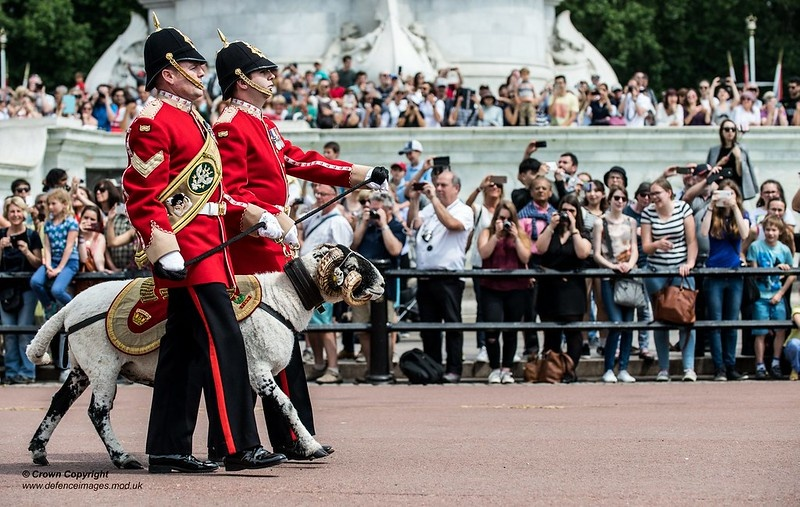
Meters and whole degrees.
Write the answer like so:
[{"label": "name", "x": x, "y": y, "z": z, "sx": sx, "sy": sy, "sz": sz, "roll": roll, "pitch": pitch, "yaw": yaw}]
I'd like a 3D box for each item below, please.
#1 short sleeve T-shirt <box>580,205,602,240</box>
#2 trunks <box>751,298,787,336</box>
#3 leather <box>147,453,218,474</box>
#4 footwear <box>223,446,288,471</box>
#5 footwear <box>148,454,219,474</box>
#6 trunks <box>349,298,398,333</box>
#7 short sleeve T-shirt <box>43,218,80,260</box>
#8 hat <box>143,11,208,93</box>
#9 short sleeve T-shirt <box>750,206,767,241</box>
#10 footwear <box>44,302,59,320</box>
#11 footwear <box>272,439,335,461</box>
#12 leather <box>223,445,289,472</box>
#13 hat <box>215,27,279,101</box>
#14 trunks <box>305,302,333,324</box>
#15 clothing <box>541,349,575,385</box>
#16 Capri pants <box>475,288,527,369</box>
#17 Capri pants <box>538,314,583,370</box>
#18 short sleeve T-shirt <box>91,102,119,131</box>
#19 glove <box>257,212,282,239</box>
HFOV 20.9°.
[{"label": "short sleeve T-shirt", "x": 3.214, "y": -0.483, "z": 36.691, "sx": 0.618, "sy": 0.484, "sz": 0.288, "roll": 5, "pitch": -45, "yaw": -6}, {"label": "trunks", "x": 6.152, "y": 1.097, "z": 36.349, "sx": 0.567, "sy": 0.608, "sz": 0.275, "roll": 14, "pitch": -18, "yaw": 1}, {"label": "leather", "x": -3.148, "y": 3.038, "z": 31.311, "sx": 1.034, "sy": 0.269, "sz": 0.323, "roll": 0, "pitch": -5, "yaw": -7}, {"label": "footwear", "x": -2.118, "y": 2.961, "z": 31.216, "sx": 1.002, "sy": 0.329, "sz": 0.322, "roll": -4, "pitch": -3, "yaw": 1}, {"label": "footwear", "x": -3.137, "y": 3.040, "z": 31.317, "sx": 1.056, "sy": 0.270, "sz": 0.318, "roll": 0, "pitch": -5, "yaw": -8}, {"label": "trunks", "x": -0.447, "y": 1.028, "z": 36.810, "sx": 0.544, "sy": 0.426, "sz": 0.499, "roll": 4, "pitch": -8, "yaw": -36}, {"label": "short sleeve T-shirt", "x": -5.729, "y": -0.217, "z": 36.759, "sx": 0.755, "sy": 0.777, "sz": 0.333, "roll": -4, "pitch": -12, "yaw": 4}, {"label": "hat", "x": -3.087, "y": -2.850, "z": 31.326, "sx": 1.172, "sy": 0.970, "sz": 0.852, "roll": -11, "pitch": 14, "yaw": -14}, {"label": "short sleeve T-shirt", "x": 6.172, "y": -0.504, "z": 37.608, "sx": 0.223, "sy": 0.478, "sz": 0.393, "roll": 19, "pitch": -8, "yaw": -18}, {"label": "footwear", "x": -5.716, "y": 0.941, "z": 35.623, "sx": 0.112, "sy": 0.283, "sz": 0.214, "roll": 14, "pitch": -19, "yaw": 29}, {"label": "footwear", "x": -1.366, "y": 2.868, "z": 31.562, "sx": 0.916, "sy": 0.332, "sz": 0.300, "roll": -4, "pitch": -2, "yaw": 6}, {"label": "leather", "x": -2.084, "y": 2.961, "z": 31.197, "sx": 1.003, "sy": 0.333, "sz": 0.323, "roll": -4, "pitch": -3, "yaw": 1}, {"label": "hat", "x": -2.434, "y": -2.728, "z": 31.731, "sx": 0.708, "sy": 0.993, "sz": 1.452, "roll": 10, "pitch": -4, "yaw": -35}, {"label": "trunks", "x": -1.331, "y": 1.008, "z": 36.908, "sx": 0.542, "sy": 0.452, "sz": 0.476, "roll": 0, "pitch": 14, "yaw": 1}, {"label": "clothing", "x": 2.589, "y": 1.894, "z": 35.884, "sx": 0.618, "sy": 0.491, "sz": 0.552, "roll": 5, "pitch": -14, "yaw": -28}, {"label": "Capri pants", "x": 1.664, "y": 1.267, "z": 36.108, "sx": 0.808, "sy": 1.294, "sz": 0.637, "roll": 0, "pitch": 0, "yaw": 14}, {"label": "Capri pants", "x": 2.714, "y": 1.446, "z": 36.231, "sx": 0.761, "sy": 0.811, "sz": 0.433, "roll": -4, "pitch": -1, "yaw": -21}, {"label": "short sleeve T-shirt", "x": -6.112, "y": -2.796, "z": 45.055, "sx": 0.724, "sy": 0.719, "sz": 0.422, "roll": -1, "pitch": -24, "yaw": -3}, {"label": "glove", "x": -1.878, "y": -0.373, "z": 31.202, "sx": 0.210, "sy": 0.314, "sz": 0.401, "roll": -39, "pitch": -17, "yaw": -33}]
